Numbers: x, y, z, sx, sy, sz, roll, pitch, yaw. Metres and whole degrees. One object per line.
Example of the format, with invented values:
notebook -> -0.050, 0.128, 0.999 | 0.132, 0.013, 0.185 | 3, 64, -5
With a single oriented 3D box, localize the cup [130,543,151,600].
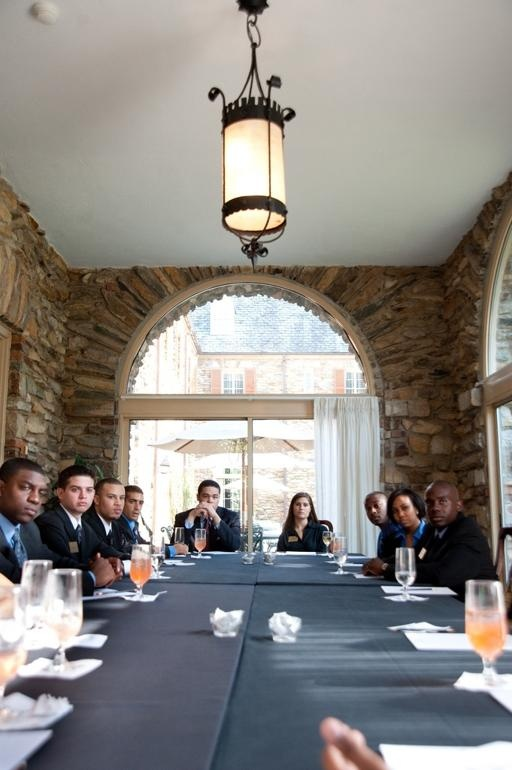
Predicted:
cup -> -0.343, 0.531, 1.705 | 0.053, 0.118, 0.163 | 3, -13, -12

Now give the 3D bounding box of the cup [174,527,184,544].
cup -> -0.495, 0.951, 3.665 | 0.054, 0.098, 0.106 | 1, -13, -3

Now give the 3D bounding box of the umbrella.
umbrella -> -0.191, 1.193, 6.388 | 1.494, 1.020, 1.317 | -2, -22, 6

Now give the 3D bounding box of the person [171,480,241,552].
person -> -0.377, 1.003, 4.460 | 0.496, 0.520, 0.777 | 2, -13, -4
